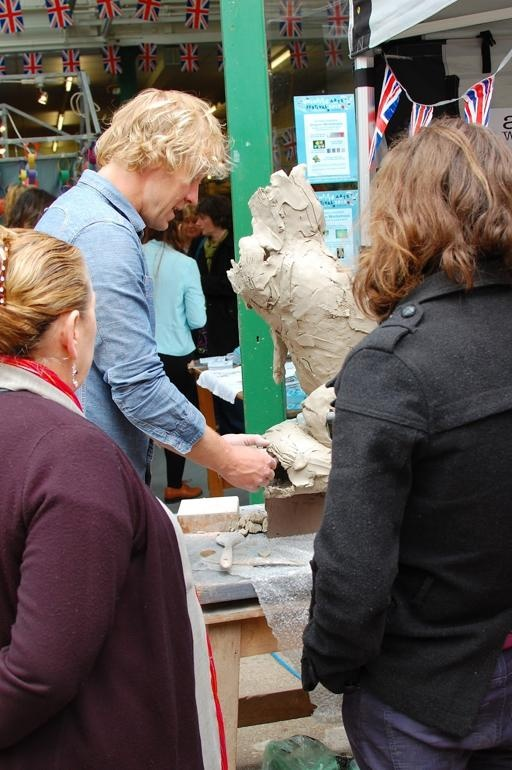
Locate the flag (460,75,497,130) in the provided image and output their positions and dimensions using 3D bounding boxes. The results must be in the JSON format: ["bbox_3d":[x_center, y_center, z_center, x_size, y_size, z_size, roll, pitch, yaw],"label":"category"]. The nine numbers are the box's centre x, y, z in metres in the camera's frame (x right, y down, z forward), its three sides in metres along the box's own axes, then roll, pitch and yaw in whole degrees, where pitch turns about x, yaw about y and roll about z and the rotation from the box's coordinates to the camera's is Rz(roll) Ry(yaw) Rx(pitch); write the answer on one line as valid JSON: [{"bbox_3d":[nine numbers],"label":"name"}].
[{"bbox_3d":[0.776,-0.974,2.335,0.107,0.024,0.301,-5,-15,24],"label":"flag"}]
